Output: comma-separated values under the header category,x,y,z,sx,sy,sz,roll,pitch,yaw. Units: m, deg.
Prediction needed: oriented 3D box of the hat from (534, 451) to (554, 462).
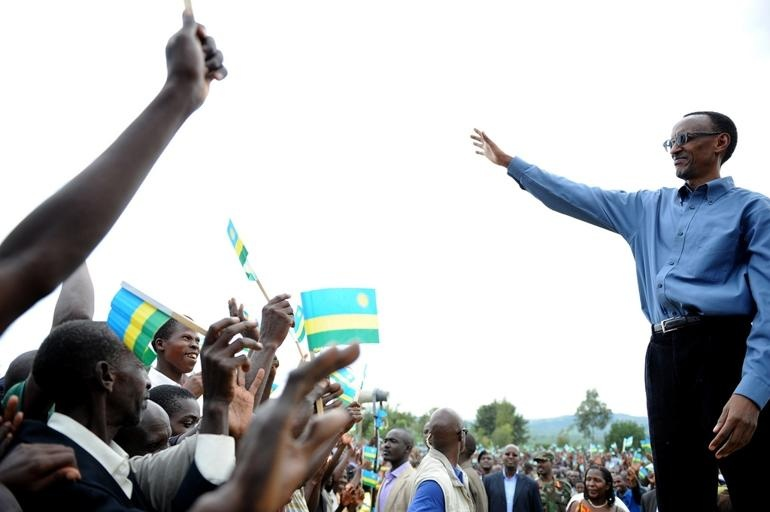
category,x,y,z,sx,sy,sz,roll,pitch,yaw
hat,4.009,5.004,14.321,0.365,0.215,0.582,-10,-20,26

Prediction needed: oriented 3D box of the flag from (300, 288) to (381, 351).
category,x,y,z,sx,sy,sz,roll,pitch,yaw
flag,-0.380,0.513,4.699,0.707,0.777,0.102,0,-29,-10
